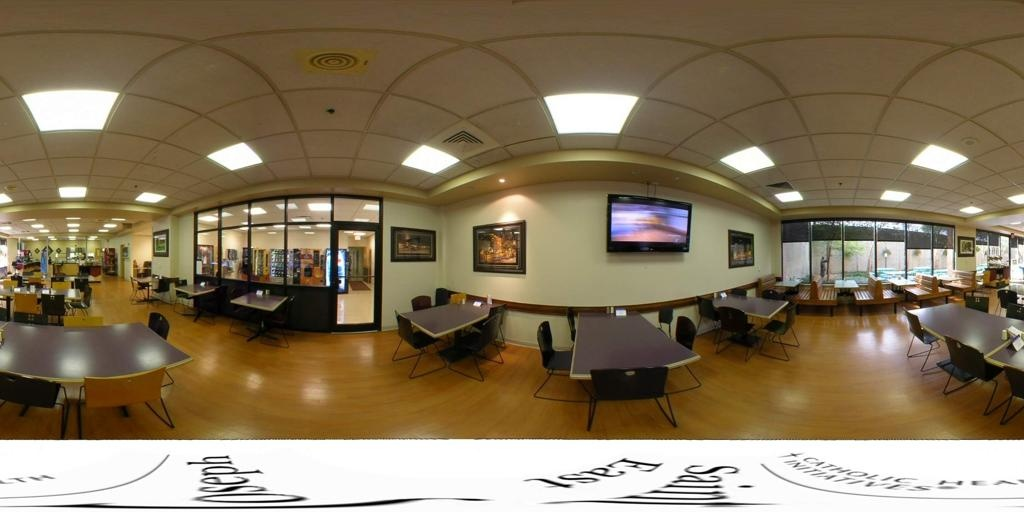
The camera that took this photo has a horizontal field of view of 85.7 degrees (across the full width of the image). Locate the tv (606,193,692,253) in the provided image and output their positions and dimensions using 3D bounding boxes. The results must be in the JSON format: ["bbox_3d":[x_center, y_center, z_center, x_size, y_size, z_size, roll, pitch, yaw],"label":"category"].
[{"bbox_3d":[2.809,-0.633,11.177,2.404,1.129,0.159,1,2,-31],"label":"tv"}]

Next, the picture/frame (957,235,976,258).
[{"bbox_3d":[13.456,-0.311,16.279,0.841,0.498,0.030,1,-3,-30],"label":"picture/frame"}]

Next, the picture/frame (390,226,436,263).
[{"bbox_3d":[-2.149,-0.249,12.165,1.242,0.727,0.073,2,4,26],"label":"picture/frame"}]

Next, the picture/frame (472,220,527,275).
[{"bbox_3d":[-0.258,-0.186,11.562,1.355,0.981,0.100,-4,-6,37],"label":"picture/frame"}]
